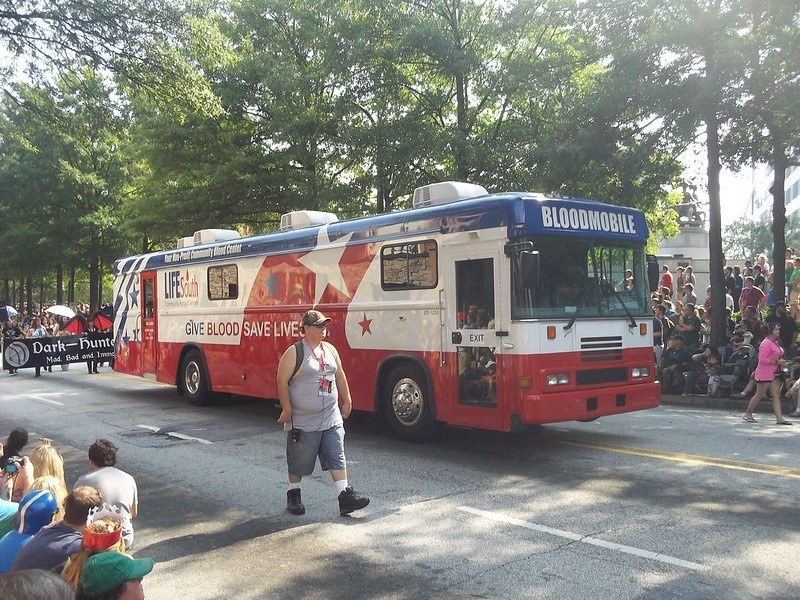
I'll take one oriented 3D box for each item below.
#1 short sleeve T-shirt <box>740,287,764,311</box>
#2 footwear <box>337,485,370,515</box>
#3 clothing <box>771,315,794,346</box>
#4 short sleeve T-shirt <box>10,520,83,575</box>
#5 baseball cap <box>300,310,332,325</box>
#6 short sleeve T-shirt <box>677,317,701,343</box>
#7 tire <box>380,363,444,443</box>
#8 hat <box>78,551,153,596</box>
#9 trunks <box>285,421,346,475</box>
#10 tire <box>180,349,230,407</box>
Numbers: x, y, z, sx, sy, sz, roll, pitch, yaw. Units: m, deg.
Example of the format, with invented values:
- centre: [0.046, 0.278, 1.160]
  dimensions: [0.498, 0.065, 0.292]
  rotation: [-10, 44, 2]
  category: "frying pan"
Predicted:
- centre: [9.393, -0.046, 18.615]
  dimensions: [0.285, 0.556, 0.532]
  rotation: [17, -11, -26]
  category: "short sleeve T-shirt"
- centre: [-0.571, 2.316, 8.215]
  dimensions: [0.490, 0.352, 0.190]
  rotation: [-9, 3, -5]
  category: "footwear"
- centre: [8.180, 0.651, 14.914]
  dimensions: [0.558, 0.716, 0.366]
  rotation: [1, 1, 27]
  category: "clothing"
- centre: [-2.590, 1.818, 5.127]
  dimensions: [0.315, 0.415, 0.394]
  rotation: [18, 33, 11]
  category: "short sleeve T-shirt"
- centre: [-0.990, 0.215, 8.115]
  dimensions: [0.297, 0.160, 0.227]
  rotation: [-7, 4, -2]
  category: "baseball cap"
- centre: [6.849, 0.695, 16.533]
  dimensions: [0.322, 0.634, 0.456]
  rotation: [7, -9, -10]
  category: "short sleeve T-shirt"
- centre: [0.223, 1.616, 11.260]
  dimensions: [0.464, 1.210, 1.074]
  rotation: [11, -5, -42]
  category: "tire"
- centre: [-1.862, 1.731, 4.540]
  dimensions: [0.372, 0.167, 0.247]
  rotation: [-8, 20, -23]
  category: "hat"
- centre: [-1.000, 1.740, 8.320]
  dimensions: [0.831, 0.787, 0.475]
  rotation: [2, -9, -23]
  category: "trunks"
- centre: [-4.337, 1.679, 15.505]
  dimensions: [0.395, 1.253, 1.108]
  rotation: [1, 2, -42]
  category: "tire"
